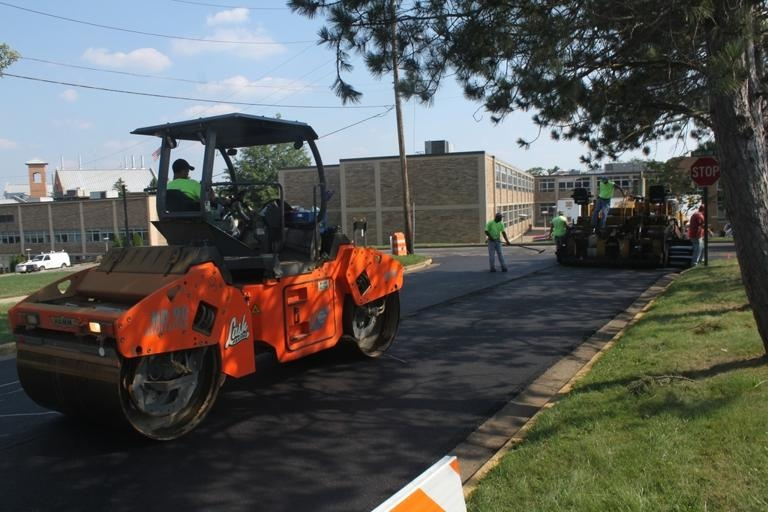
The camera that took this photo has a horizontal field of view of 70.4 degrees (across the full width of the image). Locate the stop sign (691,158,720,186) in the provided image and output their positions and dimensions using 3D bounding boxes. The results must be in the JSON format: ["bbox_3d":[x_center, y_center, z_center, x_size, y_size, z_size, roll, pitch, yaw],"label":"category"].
[{"bbox_3d":[8.601,-2.270,14.526,0.516,0.773,0.788,-5,7,-13],"label":"stop sign"}]

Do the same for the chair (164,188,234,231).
[{"bbox_3d":[-2.750,-0.614,8.116,0.684,0.486,1.117,6,-16,0],"label":"chair"}]

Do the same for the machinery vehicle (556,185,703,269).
[{"bbox_3d":[9.619,-1.014,21.097,2.767,2.320,4.885,0,1,29],"label":"machinery vehicle"}]

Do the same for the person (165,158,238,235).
[{"bbox_3d":[-2.740,-1.000,8.267,0.813,0.807,1.417,4,10,18],"label":"person"}]

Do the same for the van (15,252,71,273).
[{"bbox_3d":[-34.257,0.462,54.692,2.217,1.580,4.372,-3,-2,27],"label":"van"}]
